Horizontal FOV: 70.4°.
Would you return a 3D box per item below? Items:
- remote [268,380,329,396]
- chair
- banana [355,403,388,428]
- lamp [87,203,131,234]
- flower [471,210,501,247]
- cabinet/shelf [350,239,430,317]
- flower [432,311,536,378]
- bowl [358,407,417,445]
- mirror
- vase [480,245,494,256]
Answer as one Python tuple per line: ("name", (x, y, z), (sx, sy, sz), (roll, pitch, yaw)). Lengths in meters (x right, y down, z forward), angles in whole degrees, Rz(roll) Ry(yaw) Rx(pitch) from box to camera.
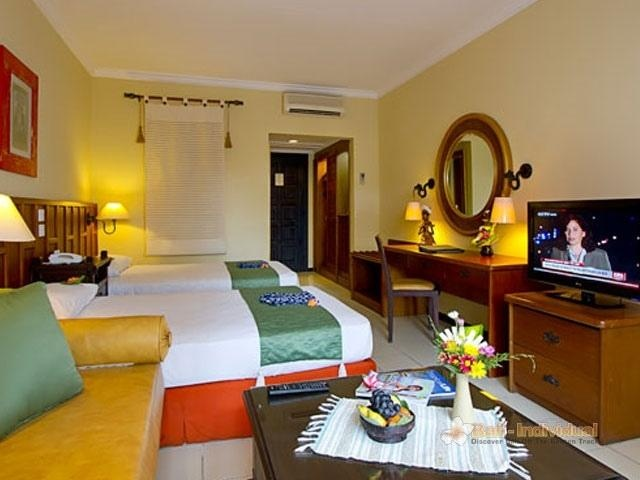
("remote", (-0.112, 0.783, 2.409), (0.208, 0.052, 0.119), (0, -5, -11))
("chair", (0.907, 0.483, 4.711), (0.603, 1.031, 0.602), (-2, -1, 1))
("banana", (0.230, 0.773, 2.024), (0.060, 0.041, 0.110), (2, 8, -22))
("lamp", (-2.508, -0.268, 5.452), (0.413, 0.392, 0.355), (0, 5, -6))
("flower", (1.496, -0.096, 4.096), (0.205, 0.340, 0.196), (6, -7, 16))
("cabinet/shelf", (0.809, 0.537, 5.711), (0.492, 0.701, 1.338), (1, 1, -12))
("flower", (0.775, 0.529, 2.162), (0.447, 0.295, 0.471), (4, 5, 20))
("bowl", (0.328, 0.848, 2.084), (0.211, 0.092, 0.234), (1, -2, 20))
("mirror", (1.546, -0.666, 4.490), (0.113, 1.575, 1.254), (1, 1, -18))
("vase", (1.473, 0.094, 4.011), (0.090, 0.093, 0.089), (6, -7, -38))
